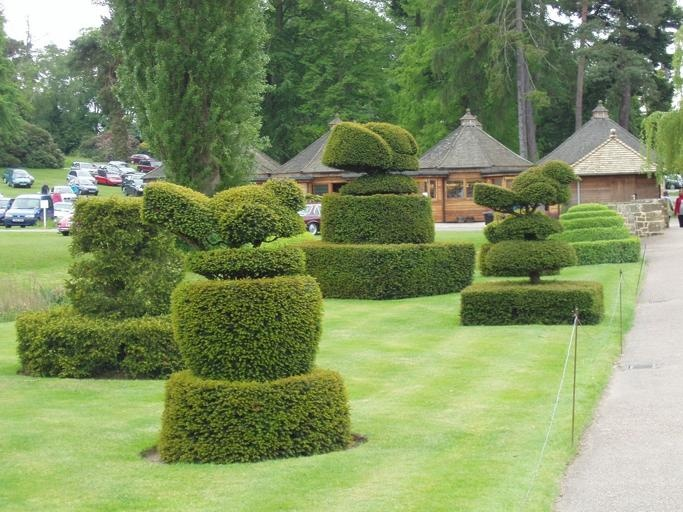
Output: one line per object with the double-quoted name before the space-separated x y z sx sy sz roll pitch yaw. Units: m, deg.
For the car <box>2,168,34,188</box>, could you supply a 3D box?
"car" -23.322 -5.632 88.291 1.241 0.985 3.036 -5 6 -28
